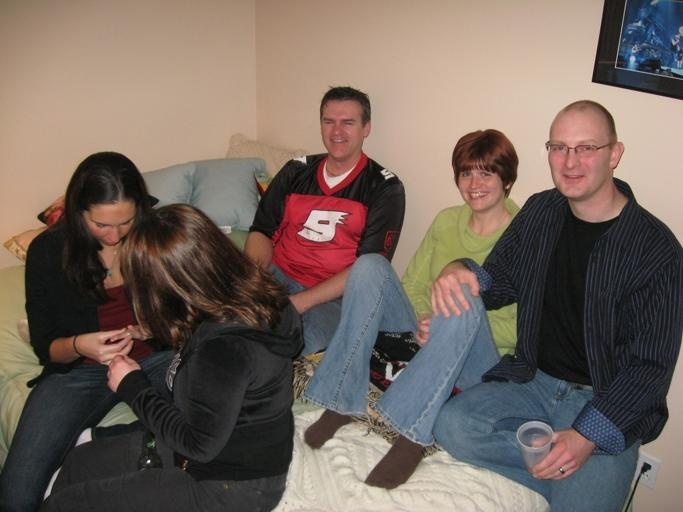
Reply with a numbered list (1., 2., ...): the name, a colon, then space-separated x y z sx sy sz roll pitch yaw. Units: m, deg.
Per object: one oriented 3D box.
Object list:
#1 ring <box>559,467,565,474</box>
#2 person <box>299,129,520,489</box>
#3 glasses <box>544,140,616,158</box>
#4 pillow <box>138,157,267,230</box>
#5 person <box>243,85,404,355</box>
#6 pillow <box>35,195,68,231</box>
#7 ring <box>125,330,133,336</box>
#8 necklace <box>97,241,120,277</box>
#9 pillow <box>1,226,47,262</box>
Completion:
1. ring: 0.794 0.774 1.994 0.024 0.024 0.006 7 8 -1
2. person: 0.404 0.162 2.491 0.959 1.588 0.734 12 0 -37
3. glasses: 0.916 -0.414 2.149 0.235 0.058 0.085 8 16 23
4. pillow: -0.823 -0.393 3.390 0.534 0.161 0.482 6 56 -12
5. person: -0.171 -0.197 2.877 0.841 1.270 1.132 11 20 15
6. pillow: -1.615 -0.239 3.070 0.078 0.216 0.214 41 12 -33
7. ring: -0.857 0.309 2.225 0.016 0.022 0.008 -23 -1 14
8. necklace: -0.999 0.011 2.396 0.105 0.147 0.053 -6 2 1
9. pillow: -1.721 -0.081 2.998 0.156 0.055 0.180 -31 58 -14
